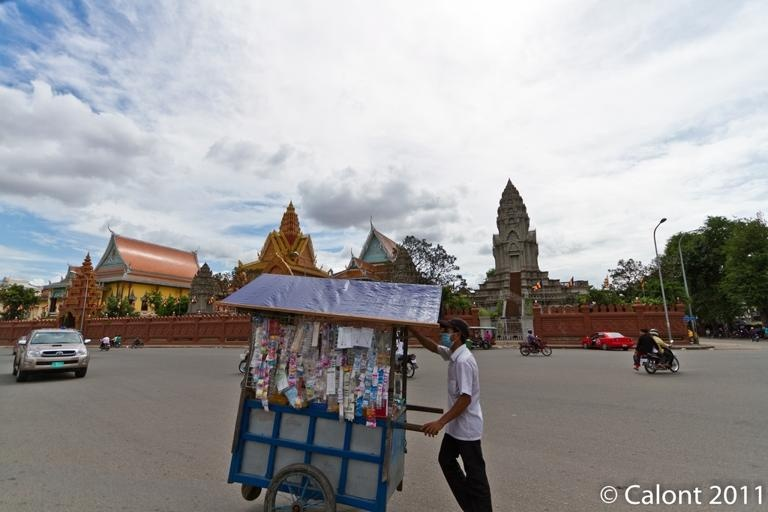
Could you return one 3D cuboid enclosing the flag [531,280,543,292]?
[{"bbox_3d":[27.048,5.207,63.889,1.076,2.105,1.346,11,26,39],"label":"flag"}]

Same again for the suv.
[{"bbox_3d":[-10.906,3.015,11.897,1.547,1.261,3.151,12,-28,-40],"label":"suv"}]

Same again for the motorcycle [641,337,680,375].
[{"bbox_3d":[10.262,3.789,13.569,1.827,1.091,1.000,2,-11,-19],"label":"motorcycle"}]

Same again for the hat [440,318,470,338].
[{"bbox_3d":[0.914,0.871,4.454,0.373,0.182,0.232,21,-9,1],"label":"hat"}]

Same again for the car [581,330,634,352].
[{"bbox_3d":[15.121,5.724,24.723,1.457,1.071,2.941,4,-12,-16],"label":"car"}]

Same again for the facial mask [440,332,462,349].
[{"bbox_3d":[0.832,1.036,4.489,0.228,0.124,0.182,7,-6,9],"label":"facial mask"}]
